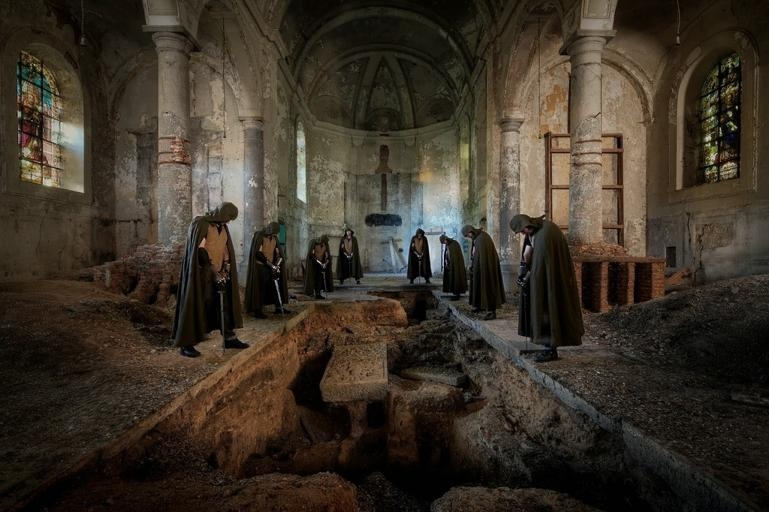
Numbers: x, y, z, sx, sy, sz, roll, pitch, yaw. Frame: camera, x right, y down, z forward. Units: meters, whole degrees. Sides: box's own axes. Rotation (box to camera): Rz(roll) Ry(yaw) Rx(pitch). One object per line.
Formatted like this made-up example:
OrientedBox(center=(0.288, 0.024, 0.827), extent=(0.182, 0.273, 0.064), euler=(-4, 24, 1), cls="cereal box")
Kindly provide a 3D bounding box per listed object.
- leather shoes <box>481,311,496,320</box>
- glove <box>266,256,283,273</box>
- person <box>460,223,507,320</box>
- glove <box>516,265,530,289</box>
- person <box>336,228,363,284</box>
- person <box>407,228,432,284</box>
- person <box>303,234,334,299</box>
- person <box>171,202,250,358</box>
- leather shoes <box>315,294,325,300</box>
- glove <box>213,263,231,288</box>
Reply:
OrientedBox(center=(2.154, 1.230, 10.676), extent=(0.127, 0.159, 0.359), euler=(-4, 6, -4), cls="leather shoes")
OrientedBox(center=(-2.305, 0.193, 10.907), extent=(0.269, 0.094, 0.267), euler=(-23, 39, -21), cls="glove")
OrientedBox(center=(2.169, 0.297, 11.033), extent=(0.714, 1.494, 1.202), euler=(-1, 0, 9), cls="person")
OrientedBox(center=(2.319, 0.337, 8.562), extent=(0.119, 0.369, 0.247), euler=(19, -19, -41), cls="glove")
OrientedBox(center=(-1.146, 0.028, 16.369), extent=(0.760, 1.543, 0.898), euler=(-1, 0, -6), cls="person")
OrientedBox(center=(1.042, 0.023, 15.658), extent=(0.649, 1.334, 1.165), euler=(-1, 0, 3), cls="person")
OrientedBox(center=(-1.724, 0.291, 13.185), extent=(0.604, 1.430, 0.843), euler=(-1, 0, 2), cls="person")
OrientedBox(center=(-2.992, 0.359, 8.721), extent=(1.163, 2.603, 0.466), euler=(-1, 0, -26), cls="person")
OrientedBox(center=(-1.635, 1.039, 13.067), extent=(0.280, 0.205, 0.106), euler=(-3, 2, -4), cls="leather shoes")
OrientedBox(center=(-2.768, 0.338, 8.790), extent=(0.248, 0.346, 0.120), euler=(-26, -29, 35), cls="glove")
